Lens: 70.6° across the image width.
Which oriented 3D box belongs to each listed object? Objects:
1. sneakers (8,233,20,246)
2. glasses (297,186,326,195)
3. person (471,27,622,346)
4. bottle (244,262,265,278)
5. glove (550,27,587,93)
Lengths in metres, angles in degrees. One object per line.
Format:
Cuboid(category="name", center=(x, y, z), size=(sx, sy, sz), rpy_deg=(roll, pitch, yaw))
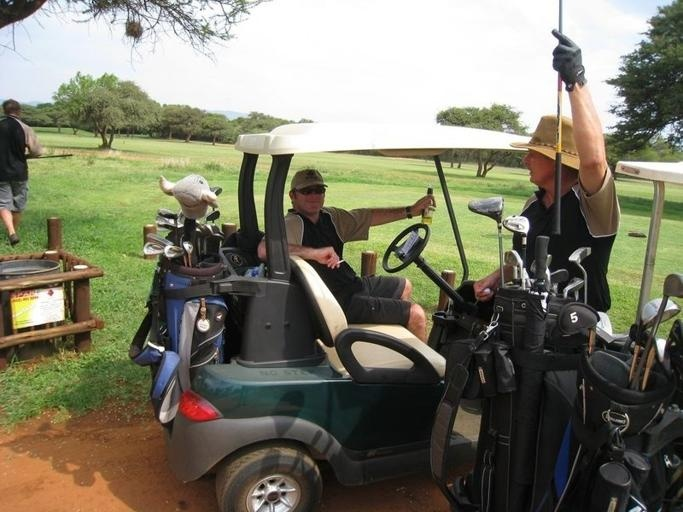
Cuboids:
Cuboid(category="sneakers", center=(-5.103, -0.257, 7.537), size=(0.110, 0.121, 0.305), rpy_deg=(4, -30, -37))
Cuboid(category="glasses", center=(-0.210, -0.514, 3.831), size=(0.238, 0.077, 0.095), rpy_deg=(-3, 10, -33))
Cuboid(category="person", center=(1.402, -0.248, 3.162), size=(0.743, 1.988, 0.916), rpy_deg=(-12, 17, -23))
Cuboid(category="bottle", center=(-0.524, 0.095, 2.916), size=(0.112, 0.105, 0.085), rpy_deg=(1, 20, -6))
Cuboid(category="glove", center=(1.100, -0.956, 2.335), size=(0.171, 0.306, 0.114), rpy_deg=(5, 9, 22))
